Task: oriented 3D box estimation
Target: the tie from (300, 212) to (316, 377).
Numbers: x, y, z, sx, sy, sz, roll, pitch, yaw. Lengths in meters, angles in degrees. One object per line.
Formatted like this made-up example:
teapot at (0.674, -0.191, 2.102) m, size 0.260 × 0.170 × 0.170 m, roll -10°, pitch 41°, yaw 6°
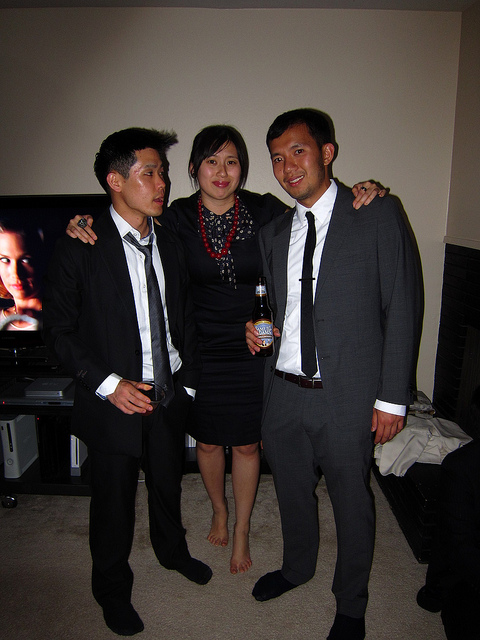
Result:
tie at (0.208, -0.078, 1.489) m, size 0.048 × 0.490 × 0.104 m, roll 0°, pitch 9°, yaw 8°

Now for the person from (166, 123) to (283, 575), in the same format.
person at (-0.018, 0.164, 1.922) m, size 0.608 × 1.733 × 0.457 m, roll -11°, pitch 16°, yaw -32°

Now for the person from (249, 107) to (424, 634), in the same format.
person at (0.270, 0.190, 1.588) m, size 0.555 × 1.689 × 0.252 m, roll 7°, pitch 12°, yaw 41°

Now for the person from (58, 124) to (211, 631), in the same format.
person at (-0.372, 0.173, 1.844) m, size 0.507 × 1.646 × 0.952 m, roll -4°, pitch 10°, yaw -16°

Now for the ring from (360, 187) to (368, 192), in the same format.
ring at (0.377, -0.400, 1.485) m, size 0.014 × 0.004 × 0.013 m, roll -16°, pitch 18°, yaw 5°

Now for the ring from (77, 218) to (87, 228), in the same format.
ring at (-0.481, -0.299, 1.502) m, size 0.028 × 0.026 × 0.079 m, roll -4°, pitch 12°, yaw -18°

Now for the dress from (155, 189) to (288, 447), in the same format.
dress at (-0.074, -0.001, 1.926) m, size 0.464 × 0.986 × 0.235 m, roll 0°, pitch 9°, yaw 5°

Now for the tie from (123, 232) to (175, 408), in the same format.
tie at (-0.286, -0.018, 1.524) m, size 0.124 × 0.503 × 0.075 m, roll -2°, pitch 9°, yaw -8°
